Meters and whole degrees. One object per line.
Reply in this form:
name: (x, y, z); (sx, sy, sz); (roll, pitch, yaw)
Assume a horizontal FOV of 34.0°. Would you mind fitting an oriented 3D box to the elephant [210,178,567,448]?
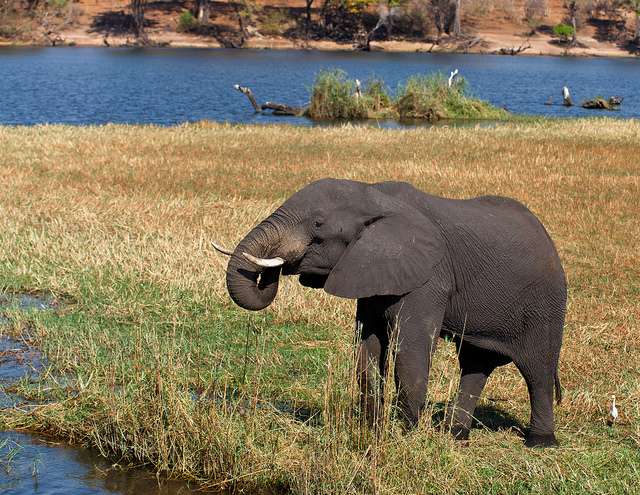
elephant: (0.459, 0.764, 14.568); (5.850, 3.843, 2.327); (5, -8, -13)
